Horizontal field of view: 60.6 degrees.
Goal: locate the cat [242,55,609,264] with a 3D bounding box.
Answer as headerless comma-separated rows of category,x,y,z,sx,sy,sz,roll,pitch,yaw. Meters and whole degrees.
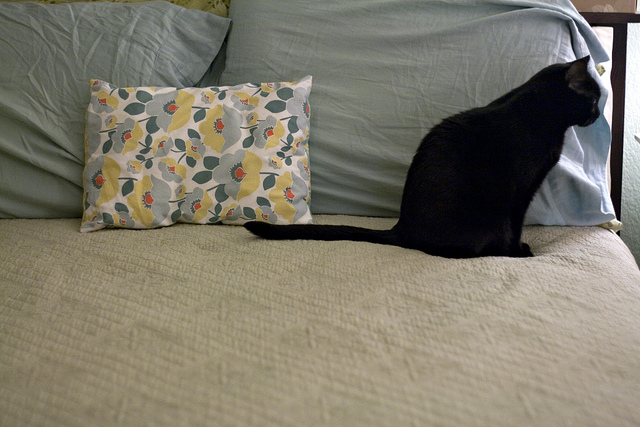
cat,0.288,-0.113,1.465,1.040,0.523,0.285,-10,17,-16
